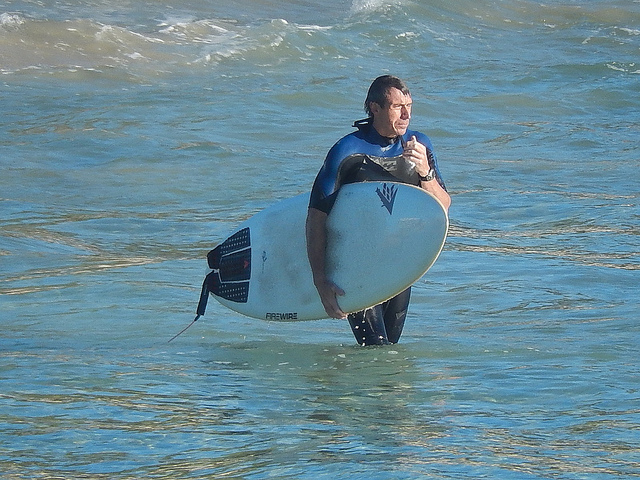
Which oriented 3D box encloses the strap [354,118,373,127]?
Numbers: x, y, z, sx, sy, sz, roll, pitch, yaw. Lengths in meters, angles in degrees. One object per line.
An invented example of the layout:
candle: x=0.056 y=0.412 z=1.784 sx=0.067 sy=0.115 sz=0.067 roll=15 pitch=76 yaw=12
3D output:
strap: x=0.383 y=-1.040 z=11.704 sx=0.095 sy=0.134 sz=0.034 roll=-1 pitch=80 yaw=-57

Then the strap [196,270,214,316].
strap: x=-1.089 y=0.504 z=12.477 sx=0.113 sy=0.115 sz=0.478 roll=-9 pitch=59 yaw=28
